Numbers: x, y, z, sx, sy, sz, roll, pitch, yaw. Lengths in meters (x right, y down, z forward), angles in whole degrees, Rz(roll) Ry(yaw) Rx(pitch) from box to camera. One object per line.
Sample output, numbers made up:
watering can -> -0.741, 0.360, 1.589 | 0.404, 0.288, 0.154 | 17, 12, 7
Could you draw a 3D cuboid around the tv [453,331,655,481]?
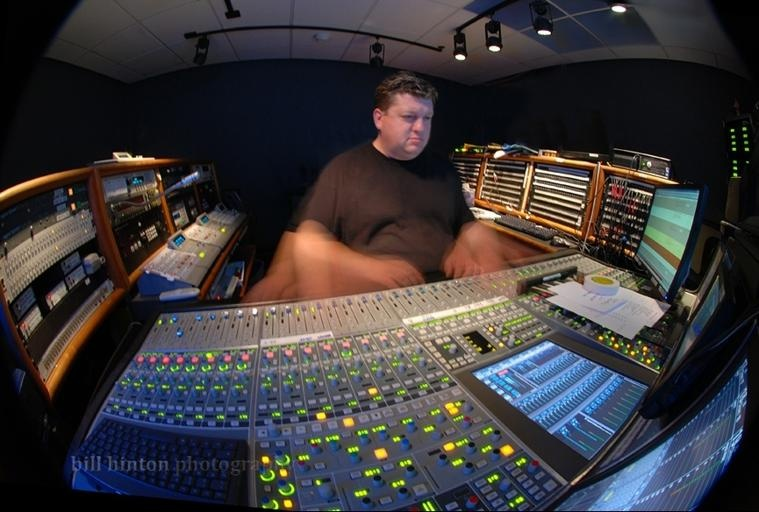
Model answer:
tv -> 0.401, 0.331, 0.953 | 0.332, 0.231, 0.057 | -30, -42, -36
